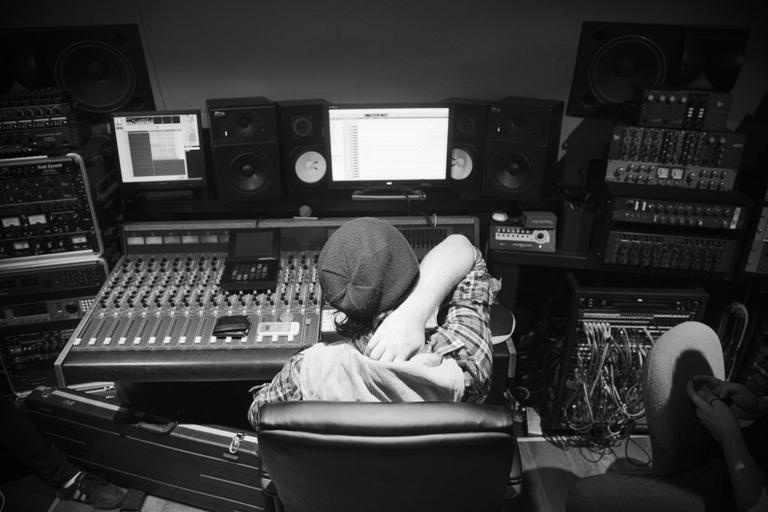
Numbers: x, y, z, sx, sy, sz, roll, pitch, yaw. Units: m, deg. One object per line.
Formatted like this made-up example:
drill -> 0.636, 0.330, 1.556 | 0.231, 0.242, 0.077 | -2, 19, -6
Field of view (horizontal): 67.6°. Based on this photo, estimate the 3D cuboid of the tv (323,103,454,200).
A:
tv -> 0.032, -0.688, 3.621 | 0.682, 0.469, 0.077 | 0, 25, 0

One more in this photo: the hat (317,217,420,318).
hat -> -0.059, 0.042, 2.209 | 0.371, 0.364, 0.140 | 3, 6, -4

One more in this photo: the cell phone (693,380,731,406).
cell phone -> 1.494, 0.627, 2.609 | 0.060, 0.060, 0.102 | -37, 25, -4

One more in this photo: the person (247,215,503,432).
person -> 0.057, 0.287, 2.751 | 1.252, 0.839, 1.507 | -3, -10, 1

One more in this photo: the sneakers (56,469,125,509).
sneakers -> -1.687, 1.379, 3.417 | 0.428, 0.180, 0.165 | 9, 30, -16

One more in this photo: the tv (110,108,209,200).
tv -> -1.441, -0.659, 3.660 | 0.579, 0.568, 0.202 | -1, 20, -4
